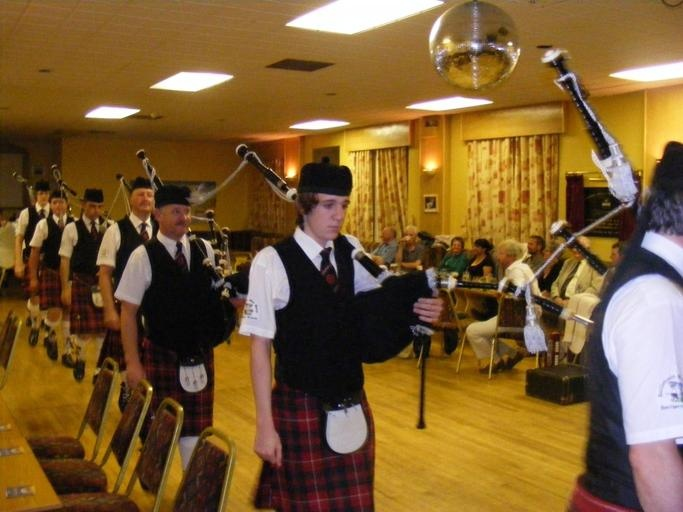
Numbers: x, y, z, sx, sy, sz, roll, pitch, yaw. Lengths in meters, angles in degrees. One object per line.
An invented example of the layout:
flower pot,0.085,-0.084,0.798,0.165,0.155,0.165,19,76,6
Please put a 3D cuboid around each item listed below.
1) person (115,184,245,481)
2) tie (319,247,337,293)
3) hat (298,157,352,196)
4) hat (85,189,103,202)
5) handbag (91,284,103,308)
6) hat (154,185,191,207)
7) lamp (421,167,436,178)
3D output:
person,-0.862,0.372,2.704,0.573,1.463,0.325,-2,5,-24
tie,-0.048,0.035,1.748,0.060,0.212,0.025,-8,36,4
hat,-0.058,-0.259,1.767,0.144,0.100,0.144,10,11,28
hat,-2.295,-0.563,4.802,0.211,0.083,0.240,0,9,-24
handbag,-2.019,0.343,4.278,0.067,0.190,0.308,-2,5,-25
hat,-0.872,-0.311,2.714,0.134,0.085,0.135,0,3,-3
lamp,1.563,-1.503,9.292,0.222,0.153,0.161,0,-7,43
